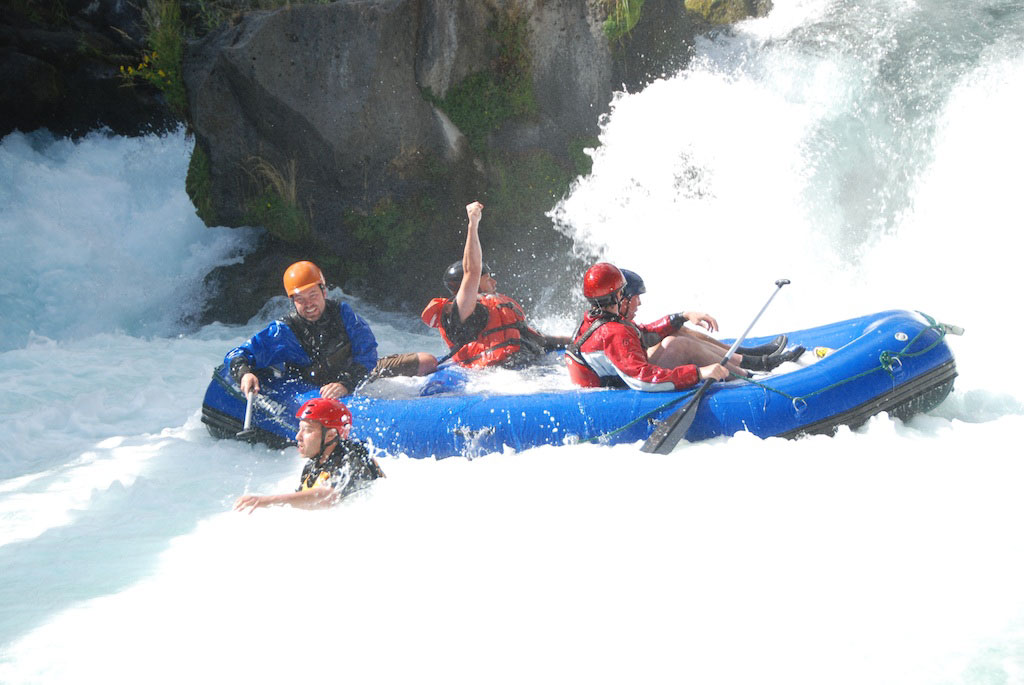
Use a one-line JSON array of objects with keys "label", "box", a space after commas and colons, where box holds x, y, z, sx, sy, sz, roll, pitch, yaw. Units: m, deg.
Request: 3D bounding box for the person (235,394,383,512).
[{"label": "person", "box": [-1.663, 0.959, 9.273, 1.105, 0.812, 0.498, 2, 26, -15]}]

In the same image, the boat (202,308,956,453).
[{"label": "boat", "box": [0.970, 0.595, 10.144, 5.177, 0.956, 2.614, -5, 8, 12]}]

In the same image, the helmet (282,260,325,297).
[{"label": "helmet", "box": [-2.133, -0.662, 10.935, 0.364, 0.277, 0.490, -22, 10, -4]}]

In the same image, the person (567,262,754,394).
[{"label": "person", "box": [1.379, -0.068, 10.304, 1.527, 1.083, 1.148, -10, 30, -4]}]

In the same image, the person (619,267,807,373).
[{"label": "person", "box": [1.859, -0.222, 10.688, 1.819, 0.920, 1.045, -4, 66, 1]}]

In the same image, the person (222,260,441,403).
[{"label": "person", "box": [-1.848, -0.025, 10.802, 1.677, 1.065, 1.136, 9, 27, 23]}]

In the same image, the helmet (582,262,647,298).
[{"label": "helmet", "box": [0.977, -0.592, 10.363, 0.539, 0.294, 0.355, -18, 21, -7]}]
